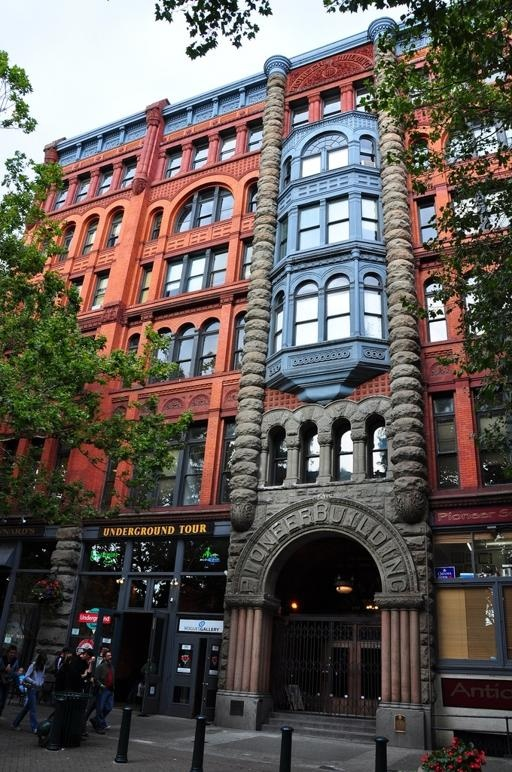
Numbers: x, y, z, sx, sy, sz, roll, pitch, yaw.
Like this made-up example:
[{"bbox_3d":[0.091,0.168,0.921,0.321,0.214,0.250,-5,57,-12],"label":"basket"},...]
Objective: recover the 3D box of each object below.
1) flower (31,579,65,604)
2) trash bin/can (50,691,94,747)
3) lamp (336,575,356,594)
[{"bbox_3d":[-6.790,6.616,17.884,0.817,0.394,1.072,7,-12,-32],"label":"flower"},{"bbox_3d":[-2.807,4.957,8.223,0.362,0.691,1.007,2,-27,8],"label":"trash bin/can"},{"bbox_3d":[2.759,6.280,17.493,0.548,0.369,0.569,19,-38,-25],"label":"lamp"}]
